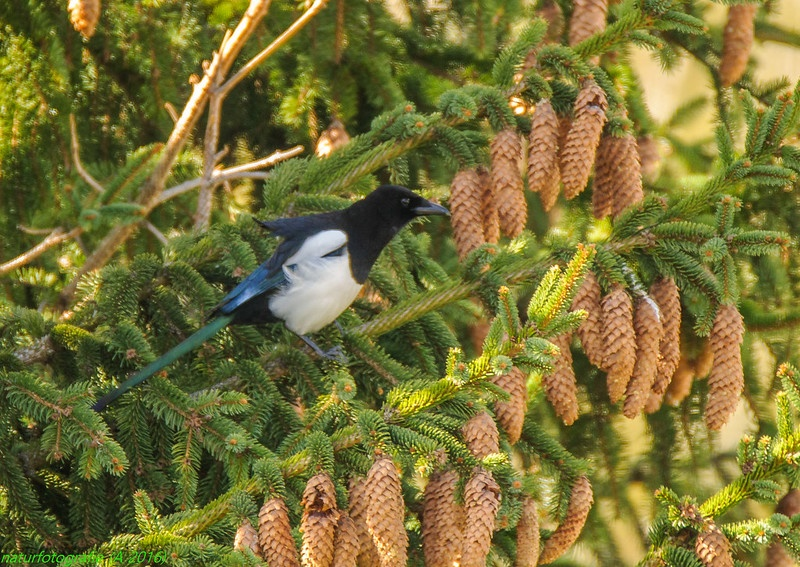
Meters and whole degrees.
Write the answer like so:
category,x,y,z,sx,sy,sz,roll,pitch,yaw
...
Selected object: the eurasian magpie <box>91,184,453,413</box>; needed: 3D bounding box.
category,x,y,z,sx,sy,sz,roll,pitch,yaw
eurasian magpie,-0.771,0.033,7.747,2.047,1.121,0.543,-4,-5,-2
